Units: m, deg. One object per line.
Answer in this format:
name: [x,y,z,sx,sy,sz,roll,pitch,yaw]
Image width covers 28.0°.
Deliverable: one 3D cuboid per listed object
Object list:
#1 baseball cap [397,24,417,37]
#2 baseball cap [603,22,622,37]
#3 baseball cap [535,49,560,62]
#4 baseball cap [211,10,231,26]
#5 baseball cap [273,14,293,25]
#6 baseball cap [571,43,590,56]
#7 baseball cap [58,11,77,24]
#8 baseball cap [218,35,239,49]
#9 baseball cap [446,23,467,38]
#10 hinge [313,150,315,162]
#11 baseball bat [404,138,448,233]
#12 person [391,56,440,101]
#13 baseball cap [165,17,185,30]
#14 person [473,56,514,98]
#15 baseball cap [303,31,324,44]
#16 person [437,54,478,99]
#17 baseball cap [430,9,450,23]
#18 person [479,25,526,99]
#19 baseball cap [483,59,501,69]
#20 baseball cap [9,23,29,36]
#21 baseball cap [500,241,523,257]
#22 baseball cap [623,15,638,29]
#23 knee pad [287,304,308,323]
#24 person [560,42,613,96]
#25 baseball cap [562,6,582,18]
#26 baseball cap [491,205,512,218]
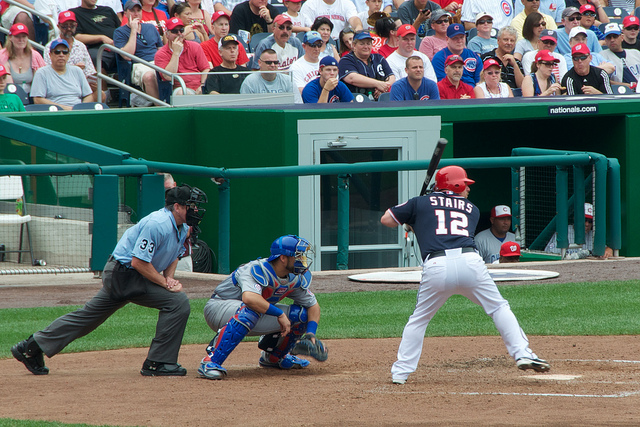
baseball cap: [1.412,-3.049,21.364,0.258,0.226,0.399,1,-2,-42]
baseball cap: [5.225,-3.282,22.870,0.273,0.268,0.465,-1,-1,11]
baseball cap: [3.770,-2.654,21.484,0.284,0.154,0.191,8,9,35]
baseball cap: [-1.691,-3.364,21.826,0.277,0.257,0.502,0,-1,-6]
baseball cap: [-0.632,-3.244,21.381,0.283,0.217,0.325,0,-1,-1]
baseball cap: [4.371,-2.763,21.443,0.287,0.215,0.310,0,-1,-14]
baseball cap: [-4.108,-3.173,20.827,0.170,0.253,0.246,0,-15,-25]
baseball cap: [-1.572,-2.802,20.905,0.286,0.209,0.453,0,-4,-33]
baseball cap: [2.260,-3.080,21.526,0.205,0.165,0.284,-7,14,-11]
hinge: [-0.087,-0.889,19.770,0.049,0.162,0.020,1,-2,-41]
baseball bat: [1.345,-0.357,16.364,0.179,1.540,0.164,19,16,-18]
person: [1.482,-2.187,20.862,0.698,0.654,0.729,-1,-1,21]
baseball cap: [-2.394,-3.134,21.095,0.296,0.275,0.517,0,-1,-6]
person: [2.885,-2.251,21.526,0.420,0.647,0.709,-1,-2,33]
baseball cap: [-0.107,-2.923,21.163,0.294,0.251,0.435,0,-1,-8]
person: [2.306,-2.243,21.129,0.651,0.668,0.720,0,-1,-7]
baseball cap: [2.073,-3.484,22.449,0.254,0.273,0.474,0,-1,-2]
person: [3.161,-2.197,22.111,0.796,1.977,0.591,-1,0,-7]
baseball cap: [2.859,-2.484,21.277,0.269,0.156,0.236,0,-1,0]
baseball cap: [-4.773,-2.920,20.261,0.271,0.198,0.273,0,-1,-15]
baseball cap: [2.884,0.524,19.491,0.291,0.235,0.214,-1,-1,9]
baseball cap: [5.589,-3.460,23.081,0.253,0.233,0.325,-1,-1,13]
knee pad: [-0.252,1.129,14.684,0.202,0.205,0.176,0,25,-8]
person: [4.525,-2.421,21.704,0.830,0.812,0.874,-1,-1,12]
baseball cap: [4.676,-3.757,23.821,0.334,0.248,0.551,-1,-1,10]
baseball cap: [2.779,-0.039,19.646,0.287,0.175,0.274,-1,-1,7]
